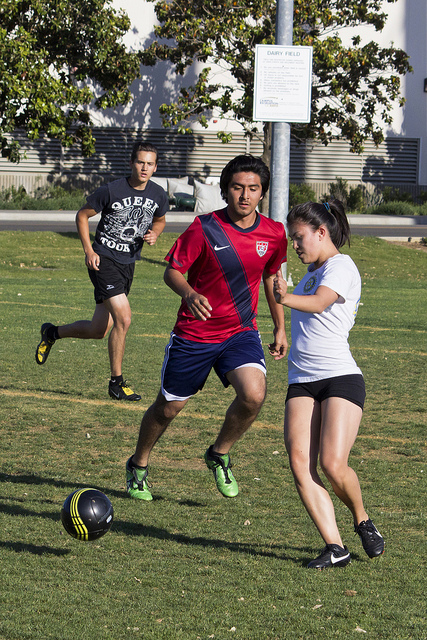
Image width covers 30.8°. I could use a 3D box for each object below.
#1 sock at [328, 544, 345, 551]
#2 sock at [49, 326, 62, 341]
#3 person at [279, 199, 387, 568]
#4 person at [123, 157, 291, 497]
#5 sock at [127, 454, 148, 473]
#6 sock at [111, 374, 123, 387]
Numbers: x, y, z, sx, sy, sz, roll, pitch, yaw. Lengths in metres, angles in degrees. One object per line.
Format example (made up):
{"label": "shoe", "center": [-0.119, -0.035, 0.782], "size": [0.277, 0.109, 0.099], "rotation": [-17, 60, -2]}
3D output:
{"label": "sock", "center": [0.550, 1.008, 3.449], "size": [0.072, 0.032, 0.009], "rotation": [0, 10, -24]}
{"label": "sock", "center": [-1.510, 0.133, 7.409], "size": [0.096, 0.162, 0.179], "rotation": [2, 9, -12]}
{"label": "person", "center": [0.523, 0.271, 3.649], "size": [0.536, 1.620, 0.671], "rotation": [2, 9, -10]}
{"label": "person", "center": [-0.010, 0.083, 4.255], "size": [0.837, 1.927, 0.601], "rotation": [3, 9, -6]}
{"label": "sock", "center": [-0.445, 0.844, 4.513], "size": [0.116, 0.079, 0.066], "rotation": [9, 10, 33]}
{"label": "sock", "center": [-0.864, 0.542, 6.975], "size": [0.103, 0.098, 0.071], "rotation": [-33, 33, -19]}
